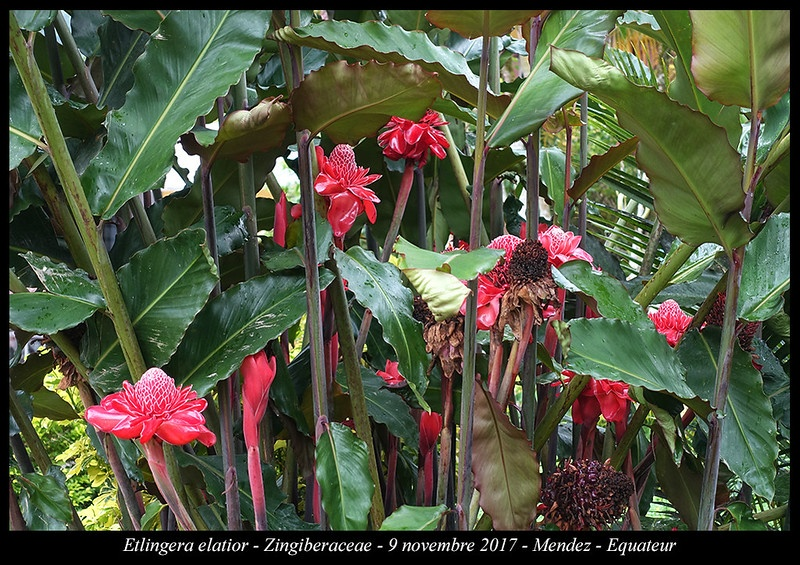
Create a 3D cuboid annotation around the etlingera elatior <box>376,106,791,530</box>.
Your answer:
[{"bbox_3d":[0.367,0.085,1.503,0.734,0.860,0.186,-3,-22,4],"label":"etlingera elatior"}]

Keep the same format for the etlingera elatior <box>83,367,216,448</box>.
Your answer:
[{"bbox_3d":[-0.421,0.223,1.246,0.152,0.077,0.157,8,17,-20],"label":"etlingera elatior"}]

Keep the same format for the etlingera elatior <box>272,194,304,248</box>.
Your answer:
[{"bbox_3d":[-0.250,-0.134,1.624,0.055,0.038,0.157,-21,-22,-23],"label":"etlingera elatior"}]

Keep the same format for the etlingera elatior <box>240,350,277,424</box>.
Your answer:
[{"bbox_3d":[-0.261,0.193,1.358,0.062,0.118,0.106,-4,-1,-14],"label":"etlingera elatior"}]
